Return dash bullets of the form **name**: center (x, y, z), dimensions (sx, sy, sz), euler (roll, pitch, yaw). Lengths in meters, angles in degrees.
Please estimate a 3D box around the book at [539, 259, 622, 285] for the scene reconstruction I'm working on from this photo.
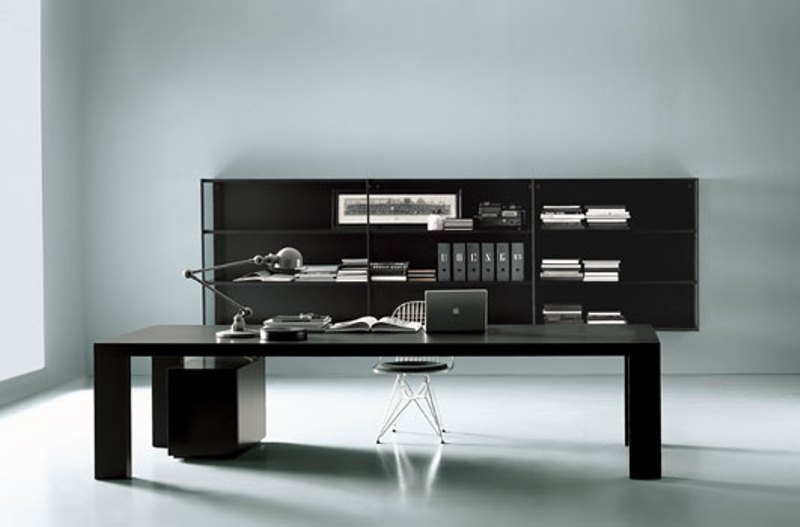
- **book**: center (1.946, 0.102, 7.820), dimensions (0.838, 0.277, 0.244), euler (0, 11, 0)

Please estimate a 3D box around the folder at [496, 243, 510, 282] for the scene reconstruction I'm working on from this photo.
- **folder**: center (1.115, -0.006, 7.736), dimensions (0.140, 0.394, 0.133), euler (1, 11, 7)

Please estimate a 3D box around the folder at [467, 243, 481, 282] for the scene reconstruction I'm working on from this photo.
- **folder**: center (0.807, -0.017, 7.776), dimensions (0.149, 0.385, 0.039), euler (-1, -1, 23)

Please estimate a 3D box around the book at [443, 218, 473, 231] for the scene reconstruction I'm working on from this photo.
- **book**: center (0.620, -0.416, 7.719), dimensions (0.300, 0.121, 0.149), euler (-1, 11, -4)

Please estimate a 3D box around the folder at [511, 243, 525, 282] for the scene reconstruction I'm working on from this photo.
- **folder**: center (1.260, -0.005, 7.724), dimensions (0.120, 0.390, 0.133), euler (0, 11, 2)

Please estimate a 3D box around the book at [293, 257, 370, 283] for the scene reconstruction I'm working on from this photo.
- **book**: center (-0.729, 0.074, 7.834), dimensions (0.784, 0.229, 0.336), euler (-1, 11, -2)

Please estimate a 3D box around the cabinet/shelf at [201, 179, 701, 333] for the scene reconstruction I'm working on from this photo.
- **cabinet/shelf**: center (0.557, -0.124, 8.269), dimensions (5.337, 1.676, 0.704), euler (0, 4, 6)

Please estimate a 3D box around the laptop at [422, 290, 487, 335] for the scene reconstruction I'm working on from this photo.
- **laptop**: center (0.448, 0.375, 5.858), dimensions (0.507, 0.327, 0.344), euler (0, -1, 0)

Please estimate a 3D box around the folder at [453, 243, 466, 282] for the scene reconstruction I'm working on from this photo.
- **folder**: center (0.642, -0.005, 7.777), dimensions (0.144, 0.401, 0.093), euler (0, 11, 2)

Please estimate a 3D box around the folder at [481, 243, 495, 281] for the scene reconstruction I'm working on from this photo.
- **folder**: center (0.953, -0.008, 7.747), dimensions (0.144, 0.392, 0.075), euler (0, 11, 2)

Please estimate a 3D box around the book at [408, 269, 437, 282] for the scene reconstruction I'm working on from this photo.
- **book**: center (0.236, 0.147, 7.819), dimensions (0.316, 0.134, 0.103), euler (1, 11, 5)
